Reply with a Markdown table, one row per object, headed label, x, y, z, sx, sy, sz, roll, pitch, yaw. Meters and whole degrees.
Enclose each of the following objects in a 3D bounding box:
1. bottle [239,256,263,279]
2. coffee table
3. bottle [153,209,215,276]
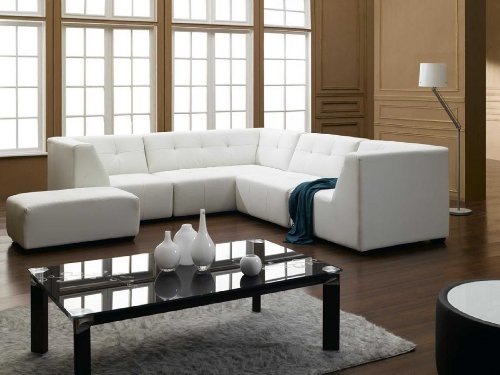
| label | x | y | z | sx | sy | sz | roll | pitch | yaw |
| --- | --- | --- | --- | --- | --- | --- | --- | --- | --- |
| bottle | 0.015 | 0.449 | 2.410 | 0.104 | 0.101 | 0.111 | 1 | 6 | -2 |
| coffee table | -0.378 | 0.692 | 2.449 | 1.631 | 0.452 | 1.174 | -6 | 11 | -31 |
| bottle | -0.374 | 0.324 | 2.490 | 0.431 | 0.477 | 0.263 | 3 | 3 | -11 |
